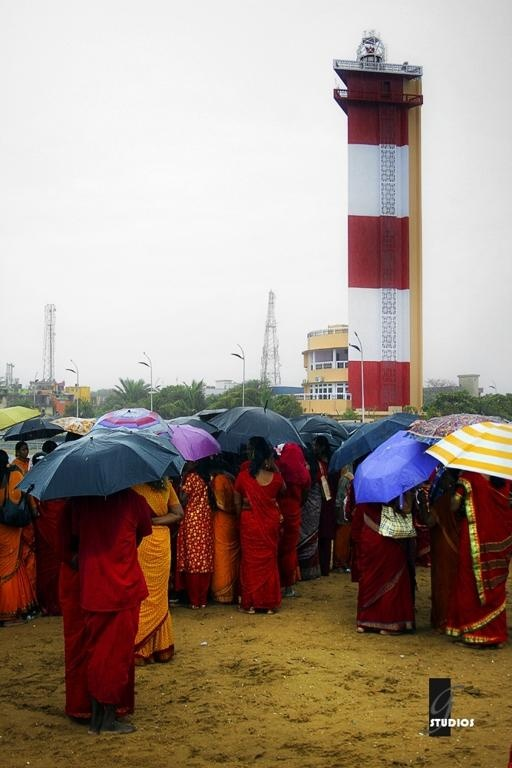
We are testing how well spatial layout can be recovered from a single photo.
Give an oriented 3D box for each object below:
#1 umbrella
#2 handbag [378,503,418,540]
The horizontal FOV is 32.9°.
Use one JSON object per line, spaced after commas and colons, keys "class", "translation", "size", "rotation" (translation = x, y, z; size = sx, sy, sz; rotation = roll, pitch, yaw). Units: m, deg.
{"class": "umbrella", "translation": [0.041, 0.587, 6.154], "size": [3.603, 0.641, 1.447], "rotation": [-1, 1, -33]}
{"class": "handbag", "translation": [1.121, 1.079, 6.942], "size": [0.266, 0.276, 0.136], "rotation": [7, -5, -14]}
